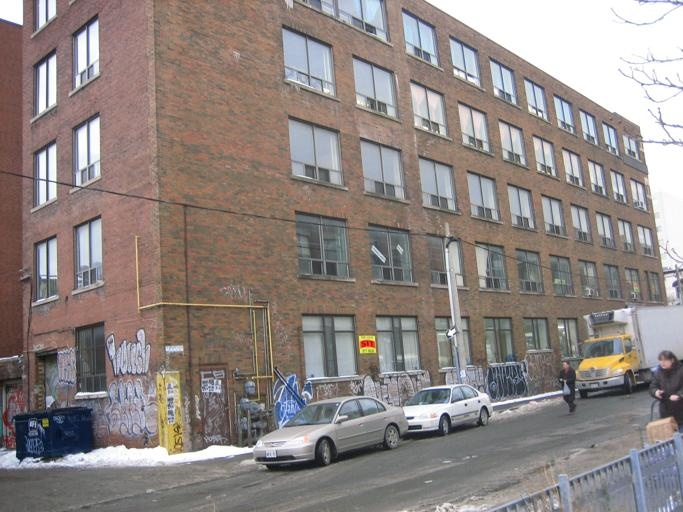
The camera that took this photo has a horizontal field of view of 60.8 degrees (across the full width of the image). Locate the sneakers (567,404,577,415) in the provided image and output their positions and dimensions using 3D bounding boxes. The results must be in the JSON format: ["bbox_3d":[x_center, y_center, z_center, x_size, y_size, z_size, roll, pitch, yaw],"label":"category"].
[{"bbox_3d":[8.829,5.877,22.336,0.220,0.288,0.673,-14,-13,25],"label":"sneakers"}]

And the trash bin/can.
[{"bbox_3d":[-10.465,6.123,21.478,2.236,1.933,2.264,-8,-10,36],"label":"trash bin/can"}]

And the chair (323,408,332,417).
[{"bbox_3d":[-0.369,4.439,16.595,0.198,0.351,0.190,-6,-9,29],"label":"chair"}]

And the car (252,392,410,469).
[{"bbox_3d":[-0.183,4.957,16.649,1.840,1.348,3.990,-15,-16,36],"label":"car"}]
